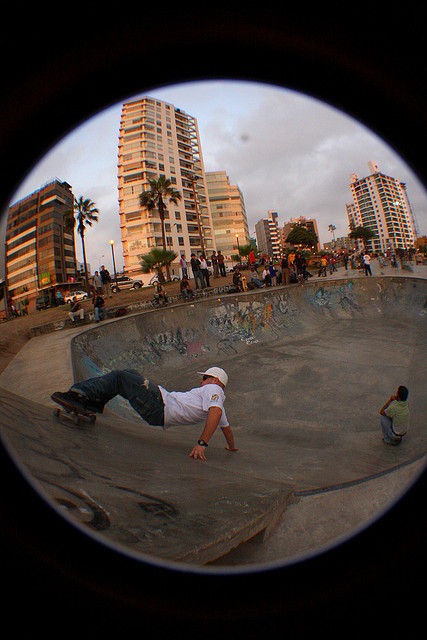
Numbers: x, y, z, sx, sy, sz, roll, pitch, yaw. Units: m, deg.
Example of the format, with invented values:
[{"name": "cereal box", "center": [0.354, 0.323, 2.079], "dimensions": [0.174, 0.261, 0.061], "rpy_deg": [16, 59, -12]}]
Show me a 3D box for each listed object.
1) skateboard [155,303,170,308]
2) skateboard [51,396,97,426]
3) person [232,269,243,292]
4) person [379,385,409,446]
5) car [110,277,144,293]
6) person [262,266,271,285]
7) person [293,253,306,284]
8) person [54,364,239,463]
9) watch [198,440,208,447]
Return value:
[{"name": "skateboard", "center": [-2.071, -0.532, 14.526], "dimensions": [0.666, 0.105, 0.123], "rpy_deg": [-5, 6, -44]}, {"name": "skateboard", "center": [-1.304, 0.832, 3.337], "dimensions": [0.333, 0.325, 0.197], "rpy_deg": [-4, 9, 9]}, {"name": "person", "center": [1.070, -1.673, 15.945], "dimensions": [0.347, 0.793, 0.570], "rpy_deg": [-5, 9, 4]}, {"name": "person", "center": [2.359, 1.241, 4.719], "dimensions": [0.328, 0.845, 0.229], "rpy_deg": [1, 11, 35]}, {"name": "car", "center": [-6.380, -2.389, 27.444], "dimensions": [2.843, 1.332, 1.440], "rpy_deg": [-7, 10, -7]}, {"name": "person", "center": [2.538, -2.085, 17.209], "dimensions": [0.299, 0.812, 0.509], "rpy_deg": [-5, 9, 1]}, {"name": "person", "center": [4.072, -2.488, 17.216], "dimensions": [0.528, 1.337, 1.911], "rpy_deg": [-3, 9, 14]}, {"name": "person", "center": [-0.544, 0.603, 3.640], "dimensions": [1.469, 0.806, 1.194], "rpy_deg": [16, -26, 14]}, {"name": "watch", "center": [-0.085, 0.939, 2.770], "dimensions": [0.060, 0.025, 0.044], "rpy_deg": [24, -6, 7]}]
